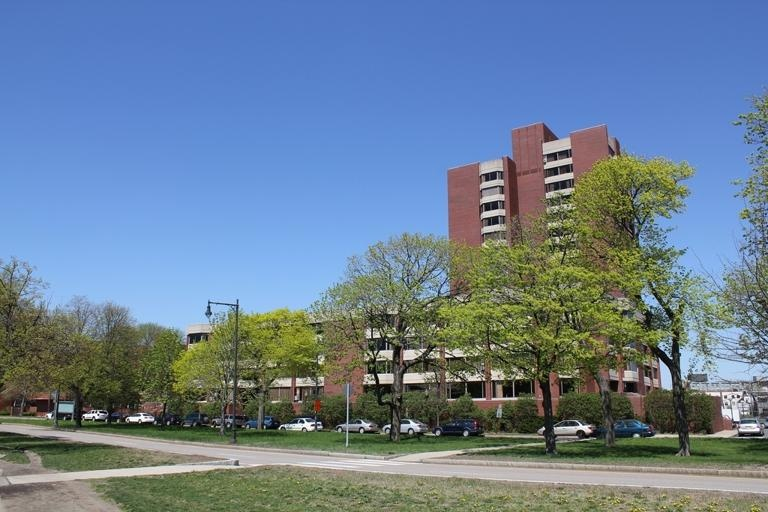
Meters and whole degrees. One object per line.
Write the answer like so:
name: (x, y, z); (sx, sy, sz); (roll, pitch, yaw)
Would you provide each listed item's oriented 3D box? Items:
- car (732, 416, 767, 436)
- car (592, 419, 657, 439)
car: (34.932, 16.271, 68.222); (2.199, 1.789, 2.774); (-7, -19, 18)
car: (21.268, 15.221, 63.141); (4.787, 1.649, 2.812); (-5, -19, 13)
